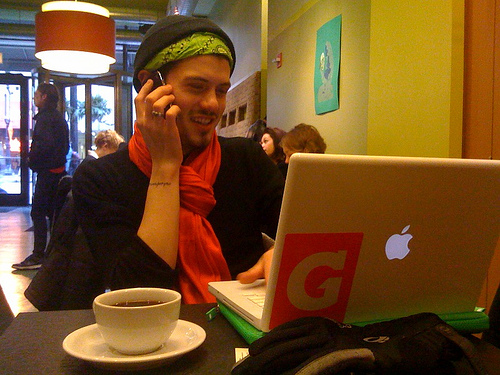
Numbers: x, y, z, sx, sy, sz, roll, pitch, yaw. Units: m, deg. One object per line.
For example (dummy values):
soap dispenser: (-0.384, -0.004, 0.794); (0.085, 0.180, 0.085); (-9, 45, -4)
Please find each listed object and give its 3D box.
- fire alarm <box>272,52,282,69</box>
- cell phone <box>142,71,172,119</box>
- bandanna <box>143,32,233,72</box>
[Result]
fire alarm: (0.255, -1.157, 3.583); (0.044, 0.098, 0.097); (9, -7, -14)
cell phone: (-0.313, -0.302, 1.296); (0.103, 0.139, 0.052); (4, 4, 1)
bandanna: (-0.199, -0.437, 1.257); (0.263, 0.123, 0.102); (0, 10, -11)
